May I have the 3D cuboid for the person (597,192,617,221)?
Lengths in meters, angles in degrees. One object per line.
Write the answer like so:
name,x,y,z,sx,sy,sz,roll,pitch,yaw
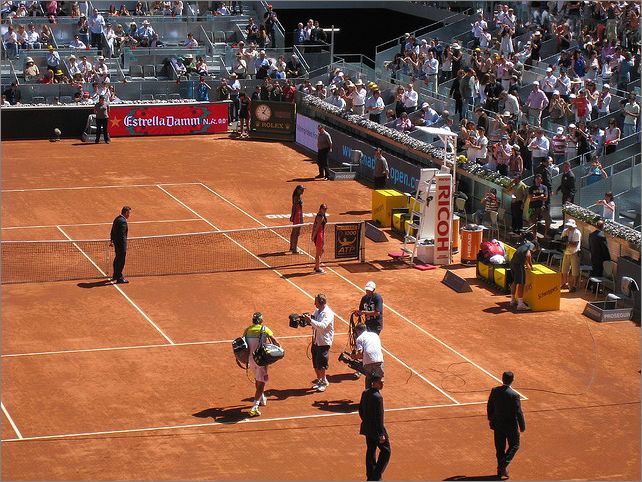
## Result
person,8.818,-1.153,32.612,0.512,0.914,1.832,5,16,14

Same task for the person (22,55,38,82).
person,-13.821,-8.216,50.598,0.692,1.050,0.574,-2,16,-13

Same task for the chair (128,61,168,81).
chair,-8.659,-8.582,53.416,2.027,0.704,0.931,-2,16,-12

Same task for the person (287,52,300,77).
person,-1.403,-9.032,54.355,0.750,1.122,1.370,0,15,-2

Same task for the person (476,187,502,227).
person,5.709,-1.134,35.874,0.740,1.187,1.269,4,16,10

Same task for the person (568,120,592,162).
person,8.853,-3.352,35.907,0.701,1.215,1.246,-1,16,-8

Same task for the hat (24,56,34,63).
hat,-14.021,-8.723,50.844,0.468,0.204,0.469,0,4,-8

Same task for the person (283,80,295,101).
person,-1.531,-7.159,50.519,0.602,0.823,1.325,0,15,-3

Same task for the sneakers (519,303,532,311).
sneakers,5.787,1.855,29.989,0.372,0.172,0.160,-1,6,-13

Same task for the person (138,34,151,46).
person,-9.024,-10.371,54.611,0.584,0.519,0.822,-2,16,-10

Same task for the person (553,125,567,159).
person,8.284,-3.333,36.620,0.527,1.197,0.553,4,16,9

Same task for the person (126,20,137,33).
person,-9.813,-10.988,55.170,0.539,0.837,1.675,-2,16,-9

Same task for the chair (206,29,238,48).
chair,-5.313,-11.153,57.656,1.660,0.581,0.724,-1,15,-8

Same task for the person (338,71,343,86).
person,0.892,-7.697,49.991,0.385,0.768,0.504,1,15,-1

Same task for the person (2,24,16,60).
person,-15.425,-9.937,52.603,0.701,1.505,1.772,-3,16,-15

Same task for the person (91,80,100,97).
person,-10.596,-7.059,49.696,0.412,0.730,0.933,-2,16,-12

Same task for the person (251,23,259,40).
person,-3.506,-11.114,56.313,0.397,0.830,0.833,0,15,-3

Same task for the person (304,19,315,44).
person,-0.631,-11.288,56.533,0.500,1.115,0.867,1,15,-1

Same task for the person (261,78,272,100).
person,-2.628,-7.304,50.743,0.513,0.981,0.916,2,15,3

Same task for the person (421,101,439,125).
person,4.440,-5.185,42.732,0.772,0.819,1.748,3,15,6

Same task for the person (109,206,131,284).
person,-5.933,0.004,31.341,0.538,2.188,1.356,-2,16,-9

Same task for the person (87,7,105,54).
person,-11.425,-10.849,53.997,0.732,1.996,0.746,-2,16,-11

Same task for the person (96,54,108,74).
person,-10.730,-8.637,51.817,0.569,0.828,1.298,-2,16,-11

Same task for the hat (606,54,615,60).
hat,11.097,-7.072,40.559,0.183,0.121,0.246,2,2,24

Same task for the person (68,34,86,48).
person,-12.260,-10.067,53.382,0.838,0.641,1.134,-2,16,-10

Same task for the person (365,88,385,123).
person,2.319,-5.906,45.706,0.591,1.439,0.865,-4,16,-18

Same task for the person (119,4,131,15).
person,-10.599,-12.552,57.251,0.496,0.543,1.441,-2,16,-10

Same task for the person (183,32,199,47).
person,-6.836,-10.660,55.819,0.751,0.700,1.809,-1,15,-6

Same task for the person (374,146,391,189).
person,2.237,-2.690,38.972,0.469,1.457,0.567,1,15,1

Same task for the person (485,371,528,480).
person,3.894,3.866,22.333,0.778,2.288,0.766,4,16,10

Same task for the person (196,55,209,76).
person,-6.020,-8.978,54.045,0.573,0.931,2.010,-1,15,-6

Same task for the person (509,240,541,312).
person,5.708,0.958,30.053,0.657,1.899,0.689,4,16,10

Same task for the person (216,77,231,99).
person,-4.767,-7.496,52.044,0.643,1.109,0.935,-1,15,-6

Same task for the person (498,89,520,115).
person,7.035,-5.177,39.543,0.698,1.068,1.062,-13,8,15

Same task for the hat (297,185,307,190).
hat,-0.623,-1.732,33.322,0.312,0.170,0.430,0,2,-12

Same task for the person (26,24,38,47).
person,-14.389,-10.277,52.957,0.600,1.062,1.345,-3,16,-14

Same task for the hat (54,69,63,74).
hat,-12.535,-8.084,50.515,0.296,0.117,0.292,-1,3,35

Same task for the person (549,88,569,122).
person,8.716,-4.870,38.743,0.584,1.177,1.037,2,15,5

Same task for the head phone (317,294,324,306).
head phone,0.023,1.353,24.832,0.167,0.204,0.195,5,-5,-30

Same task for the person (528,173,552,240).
person,6.976,-1.154,33.799,0.960,2.009,0.747,-10,19,-35

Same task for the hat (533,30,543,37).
hat,9.257,-8.867,45.066,0.353,0.143,0.397,2,1,2

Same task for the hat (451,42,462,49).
hat,6.043,-8.716,47.049,0.538,0.226,0.761,3,13,3

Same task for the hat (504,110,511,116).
hat,6.741,-4.607,38.205,0.257,0.106,0.292,2,8,3
